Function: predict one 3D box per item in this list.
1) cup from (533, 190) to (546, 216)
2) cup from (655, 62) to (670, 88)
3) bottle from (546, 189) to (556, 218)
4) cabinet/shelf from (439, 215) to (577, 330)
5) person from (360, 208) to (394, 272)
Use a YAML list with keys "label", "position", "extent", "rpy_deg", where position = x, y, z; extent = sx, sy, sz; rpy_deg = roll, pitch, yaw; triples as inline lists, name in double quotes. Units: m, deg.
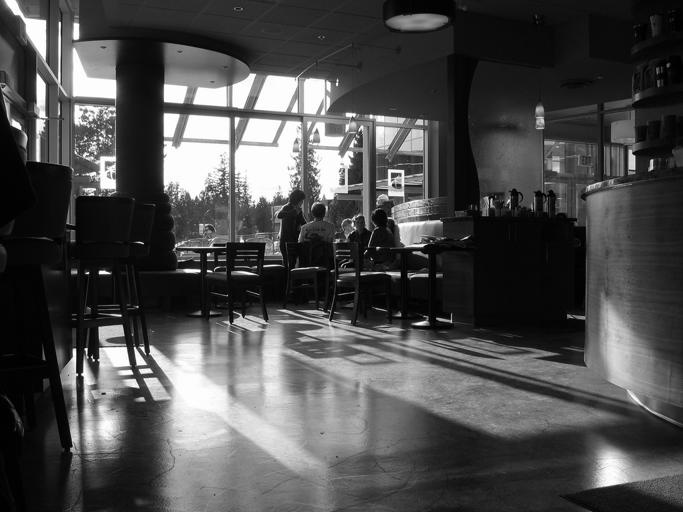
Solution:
- label: "cup"
  position: [2.408, -0.643, 7.362]
  extent: [0.132, 0.299, 0.271]
  rpy_deg: [1, 4, 18]
- label: "cup"
  position: [3.317, -1.861, 6.282]
  extent: [0.119, 0.269, 0.070]
  rpy_deg: [2, 4, 37]
- label: "bottle"
  position: [2.567, -0.642, 7.389]
  extent: [0.097, 0.326, 0.242]
  rpy_deg: [1, 4, 19]
- label: "cabinet/shelf"
  position: [2.085, 0.197, 7.536]
  extent: [1.401, 1.354, 0.908]
  rpy_deg: [-1, 2, -18]
- label: "person"
  position: [0.492, -0.280, 8.719]
  extent: [0.508, 0.814, 0.539]
  rpy_deg: [2, 7, 0]
